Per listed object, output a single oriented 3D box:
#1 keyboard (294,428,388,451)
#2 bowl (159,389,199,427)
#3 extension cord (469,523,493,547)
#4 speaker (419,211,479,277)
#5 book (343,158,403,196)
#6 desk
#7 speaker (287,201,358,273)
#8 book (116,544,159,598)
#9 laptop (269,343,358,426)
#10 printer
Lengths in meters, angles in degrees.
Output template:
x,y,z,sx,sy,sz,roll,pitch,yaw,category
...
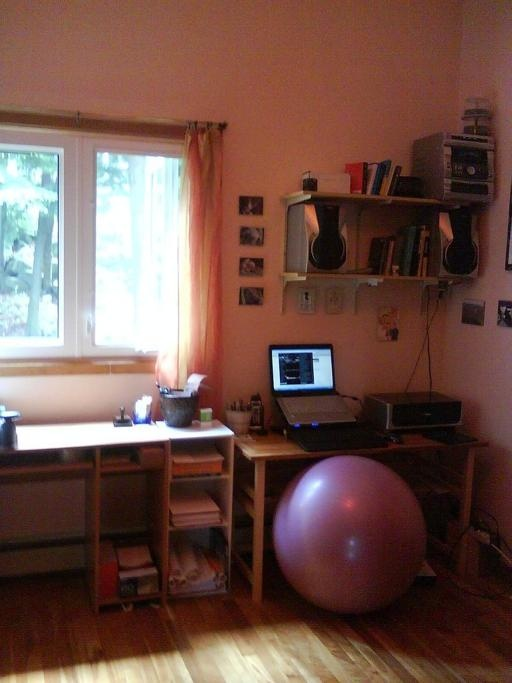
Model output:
x,y,z,sx,sy,sz,roll,pitch,yaw,category
0.376,0.412,2.496,0.440,0.057,0.255,1,2,-18,keyboard
-0.327,0.273,2.403,0.126,0.135,0.154,1,-7,2,bowl
1.018,0.878,2.629,0.076,0.063,0.123,2,2,-7,extension cord
0.995,-0.467,2.856,0.211,0.356,0.211,-1,0,33,speaker
0.542,-0.754,2.691,0.253,0.181,0.161,2,2,9,book
0.461,0.817,2.702,1.072,0.784,0.566,0,2,-16,desk
0.277,-0.477,2.683,0.255,0.342,0.287,0,9,4,speaker
-0.484,0.908,2.355,0.160,0.115,0.292,1,2,-16,book
0.250,0.174,2.661,0.372,0.286,0.427,2,13,7,laptop
0.732,0.329,2.837,0.467,0.164,0.310,2,2,-14,printer
